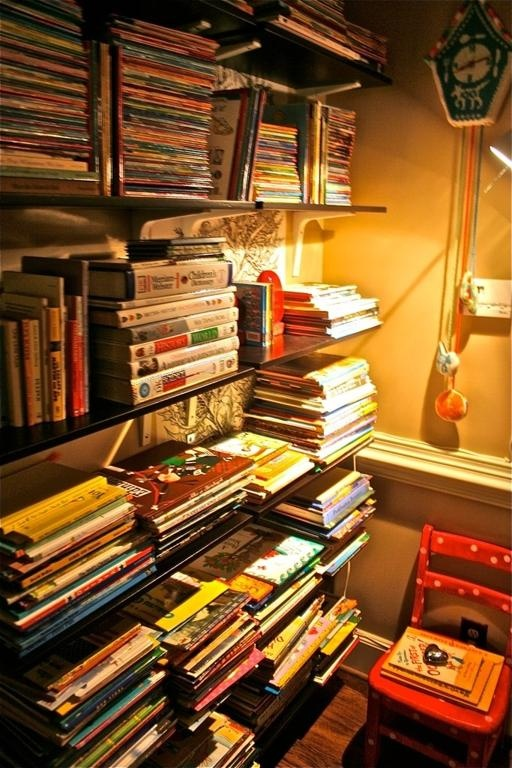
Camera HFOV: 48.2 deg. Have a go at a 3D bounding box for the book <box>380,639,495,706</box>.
[{"bbox_3d":[0.556,0.828,1.708,0.305,0.034,0.280,6,13,32],"label":"book"}]

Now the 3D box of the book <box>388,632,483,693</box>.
[{"bbox_3d":[0.538,0.813,1.712,0.278,0.285,0.019,8,33,18],"label":"book"}]
